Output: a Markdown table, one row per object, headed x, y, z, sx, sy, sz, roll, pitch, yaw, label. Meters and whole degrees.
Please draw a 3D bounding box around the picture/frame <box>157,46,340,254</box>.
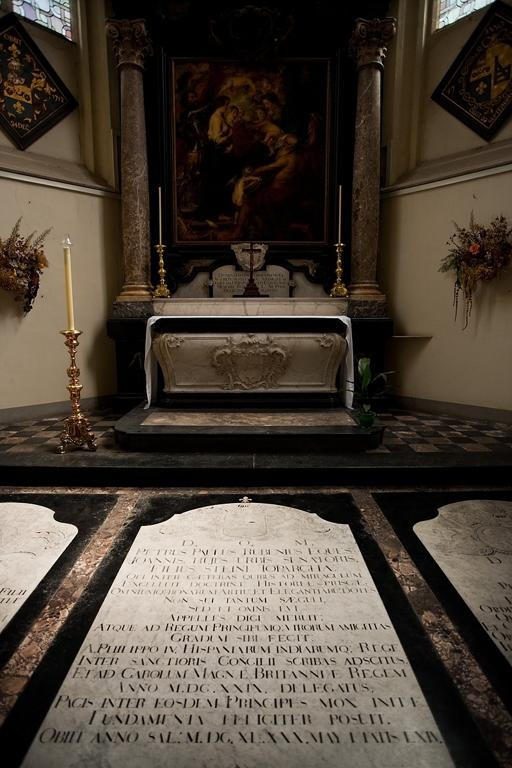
| x | y | z | sx | sy | sz | roll | pitch | yaw | label |
| --- | --- | --- | --- | --- | --- | --- | --- | --- | --- |
| -0.091 | -2.674 | 5.772 | 2.247 | 2.496 | 0.114 | 0 | 7 | -1 | picture/frame |
